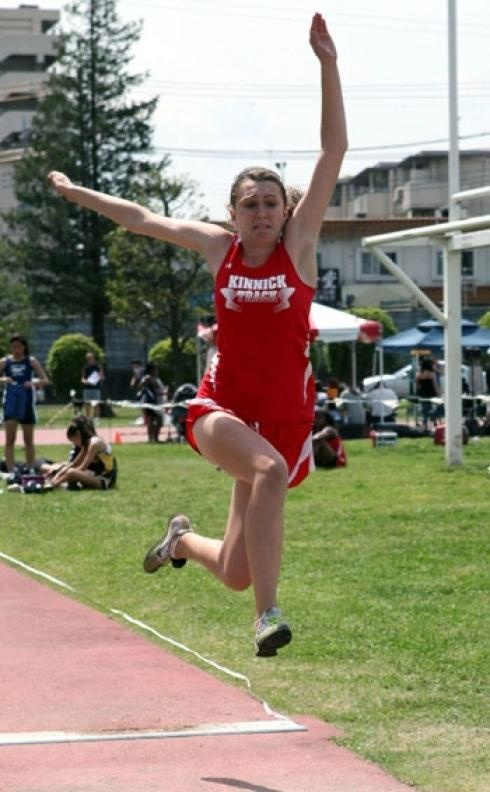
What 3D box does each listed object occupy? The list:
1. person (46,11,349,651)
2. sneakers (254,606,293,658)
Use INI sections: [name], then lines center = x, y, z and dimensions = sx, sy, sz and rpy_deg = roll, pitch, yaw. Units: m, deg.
[person]
center = 0.050, -0.231, 5.806
dimensions = 0.792, 2.382, 1.396
rpy_deg = 1, 0, -29
[sneakers]
center = 0.097, 0.843, 5.404
dimensions = 0.082, 0.105, 0.214
rpy_deg = 10, -30, -7
